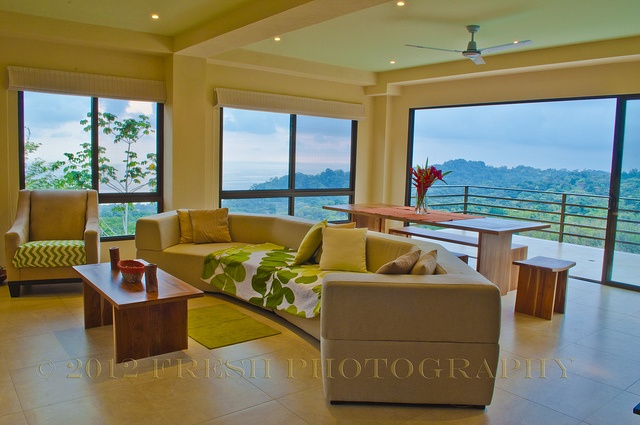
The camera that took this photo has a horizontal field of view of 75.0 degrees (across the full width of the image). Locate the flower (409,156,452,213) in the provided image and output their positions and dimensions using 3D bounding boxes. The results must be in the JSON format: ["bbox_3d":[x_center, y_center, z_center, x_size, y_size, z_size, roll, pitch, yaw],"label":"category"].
[{"bbox_3d":[1.633,-0.447,6.949,0.978,0.833,0.893,0,6,2],"label":"flower"}]

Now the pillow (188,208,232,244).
[{"bbox_3d":[-1.600,0.213,6.023,0.538,0.428,0.179,-6,-5,-14],"label":"pillow"}]

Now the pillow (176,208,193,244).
[{"bbox_3d":[-1.946,0.190,6.021,0.166,0.388,0.425,-8,-9,3],"label":"pillow"}]

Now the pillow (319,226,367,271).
[{"bbox_3d":[0.277,0.437,4.803,0.534,0.434,0.177,3,-18,10],"label":"pillow"}]

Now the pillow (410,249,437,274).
[{"bbox_3d":[0.940,0.456,3.778,0.072,0.124,0.205,19,19,32],"label":"pillow"}]

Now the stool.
[{"bbox_3d":[2.840,0.952,5.346,0.591,0.672,0.547,-7,10,-44],"label":"stool"}]
